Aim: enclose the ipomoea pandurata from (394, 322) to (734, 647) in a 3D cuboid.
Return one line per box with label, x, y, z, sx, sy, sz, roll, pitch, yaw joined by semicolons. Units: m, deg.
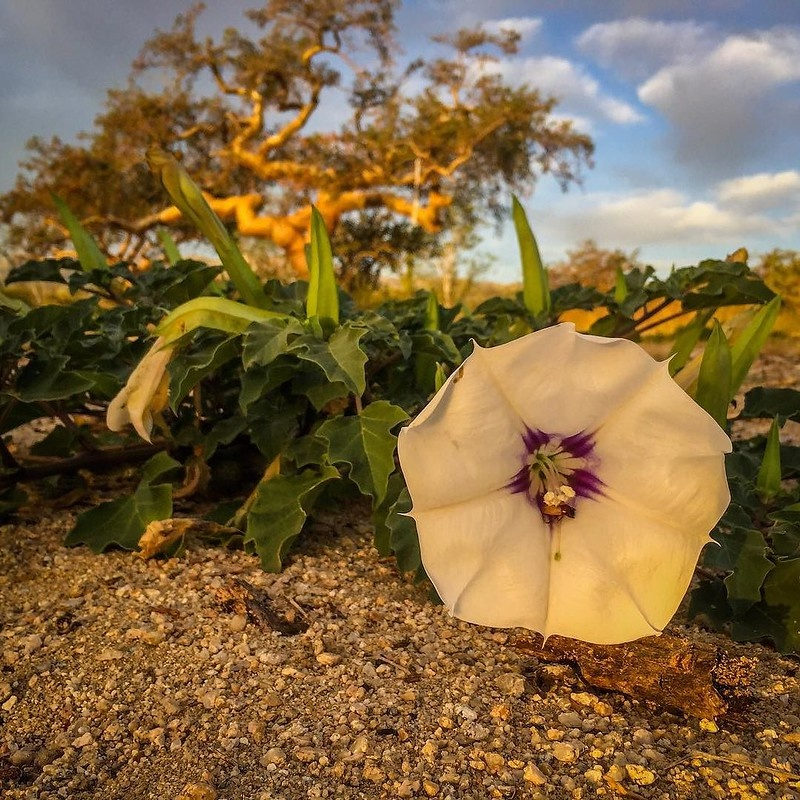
ipomoea pandurata;0.263;0.150;1.761;0.814;0.735;0.273;-30;22;8
